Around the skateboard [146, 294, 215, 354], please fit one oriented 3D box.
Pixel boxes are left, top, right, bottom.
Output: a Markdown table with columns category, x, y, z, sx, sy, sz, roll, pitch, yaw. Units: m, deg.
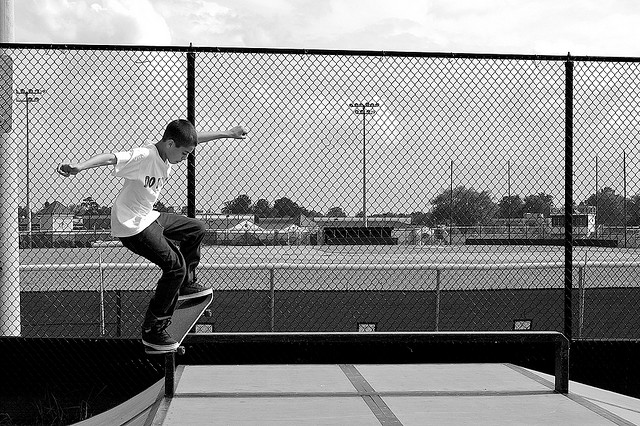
| category | x | y | z | sx | sy | sz | roll | pitch | yaw |
| --- | --- | --- | --- | --- | --- | --- | --- | --- | --- |
| skateboard | -1.617 | 1.419 | 10.435 | 0.390 | 0.185 | 1.120 | 4 | 38 | 24 |
